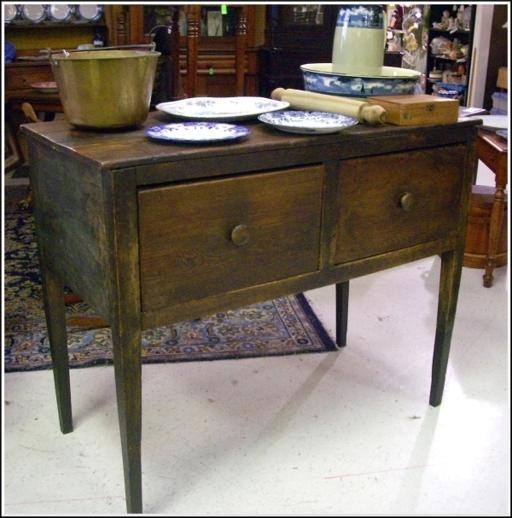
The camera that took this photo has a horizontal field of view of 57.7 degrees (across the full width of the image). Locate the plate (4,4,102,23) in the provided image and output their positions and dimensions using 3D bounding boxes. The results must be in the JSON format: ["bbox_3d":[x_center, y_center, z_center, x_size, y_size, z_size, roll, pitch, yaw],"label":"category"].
[{"bbox_3d":[-2.202,-2.669,5.090,1.047,0.213,0.247,-5,24,-12],"label":"plate"}]

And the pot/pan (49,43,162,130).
[{"bbox_3d":[-0.354,-0.397,1.074,0.230,0.170,0.228,-5,30,-16],"label":"pot/pan"}]

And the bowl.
[{"bbox_3d":[0.320,-0.561,1.492,0.394,0.087,0.395,5,16,-2],"label":"bowl"}]

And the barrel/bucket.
[{"bbox_3d":[-0.345,-0.393,1.071,0.223,0.168,0.224,0,26,0],"label":"barrel/bucket"}]

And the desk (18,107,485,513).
[{"bbox_3d":[-0.005,0.193,1.303,1.084,0.896,0.491,-13,27,-29],"label":"desk"}]
